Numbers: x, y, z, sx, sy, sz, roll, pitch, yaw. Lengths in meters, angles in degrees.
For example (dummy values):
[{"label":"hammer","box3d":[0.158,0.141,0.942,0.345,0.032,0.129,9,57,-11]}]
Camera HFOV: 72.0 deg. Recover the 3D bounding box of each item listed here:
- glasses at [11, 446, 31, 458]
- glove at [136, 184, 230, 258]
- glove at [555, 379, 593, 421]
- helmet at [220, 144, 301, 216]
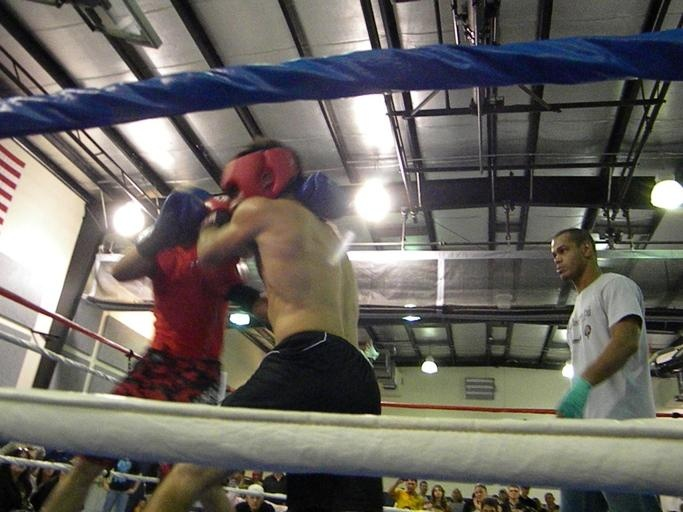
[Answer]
[{"label":"glasses","box3d":[-2.203,1.340,3.228,0.084,0.069,0.313,19,-34,-18]},{"label":"glove","box3d":[-0.350,-0.065,1.110,0.181,0.137,0.089,-48,-60,0]},{"label":"glove","box3d":[0.670,0.403,1.342,0.101,0.128,0.063,-6,-39,19]},{"label":"helmet","box3d":[-0.183,-0.176,1.090,0.188,0.092,0.127,3,-25,-11]}]
